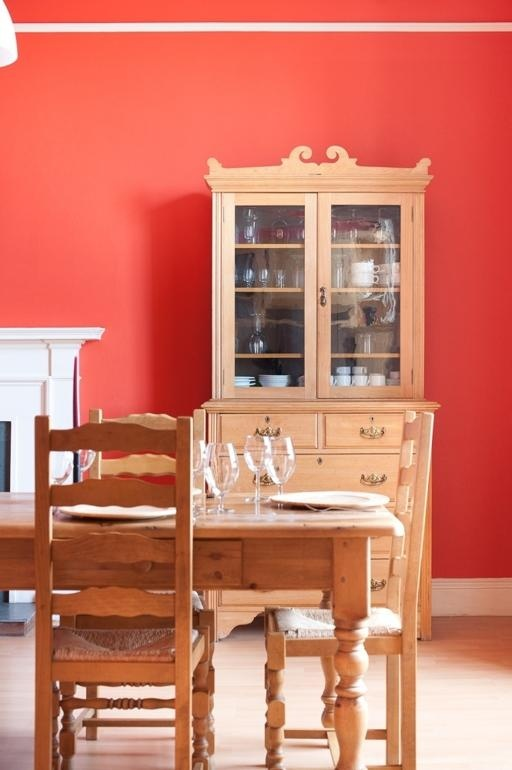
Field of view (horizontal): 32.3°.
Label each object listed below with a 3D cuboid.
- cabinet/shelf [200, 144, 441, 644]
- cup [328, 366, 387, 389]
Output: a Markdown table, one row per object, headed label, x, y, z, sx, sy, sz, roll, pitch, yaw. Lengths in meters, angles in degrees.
| label | x | y | z | sx | sy | sz | roll | pitch | yaw |
| --- | --- | --- | --- | --- | --- | --- | --- | --- | --- |
| cabinet/shelf | 0.244 | 0.020 | 3.716 | 0.990 | 1.880 | 0.428 | -1 | 7 | -2 |
| cup | 0.416 | -0.023 | 3.563 | 0.175 | 0.061 | 0.100 | 1 | -4 | 3 |
